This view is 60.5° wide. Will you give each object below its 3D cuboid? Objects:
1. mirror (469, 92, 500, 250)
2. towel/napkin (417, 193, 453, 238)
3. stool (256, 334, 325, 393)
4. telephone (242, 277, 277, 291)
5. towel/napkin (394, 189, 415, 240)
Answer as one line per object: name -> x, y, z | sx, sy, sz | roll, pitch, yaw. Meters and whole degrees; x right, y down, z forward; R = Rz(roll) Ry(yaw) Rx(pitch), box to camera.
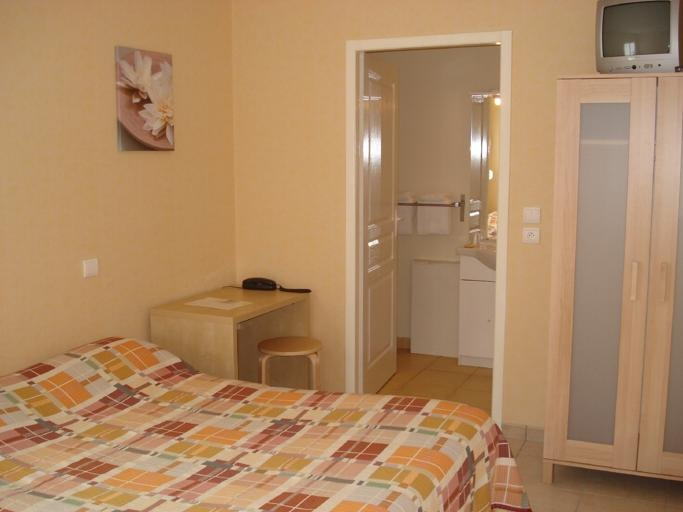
mirror -> 1.235, -0.765, 5.117 | 0.254, 1.322, 0.227 | 1, 14, 13
towel/napkin -> 0.835, -0.360, 5.175 | 0.401, 0.427, 0.232 | 1, 3, 14
stool -> -0.339, 0.683, 3.821 | 0.393, 0.408, 0.389 | -1, 0, -7
telephone -> -0.572, 0.207, 4.071 | 0.184, 0.057, 0.102 | 2, 2, 11
towel/napkin -> 0.591, -0.381, 5.270 | 0.161, 0.353, 0.114 | 0, 13, 6
